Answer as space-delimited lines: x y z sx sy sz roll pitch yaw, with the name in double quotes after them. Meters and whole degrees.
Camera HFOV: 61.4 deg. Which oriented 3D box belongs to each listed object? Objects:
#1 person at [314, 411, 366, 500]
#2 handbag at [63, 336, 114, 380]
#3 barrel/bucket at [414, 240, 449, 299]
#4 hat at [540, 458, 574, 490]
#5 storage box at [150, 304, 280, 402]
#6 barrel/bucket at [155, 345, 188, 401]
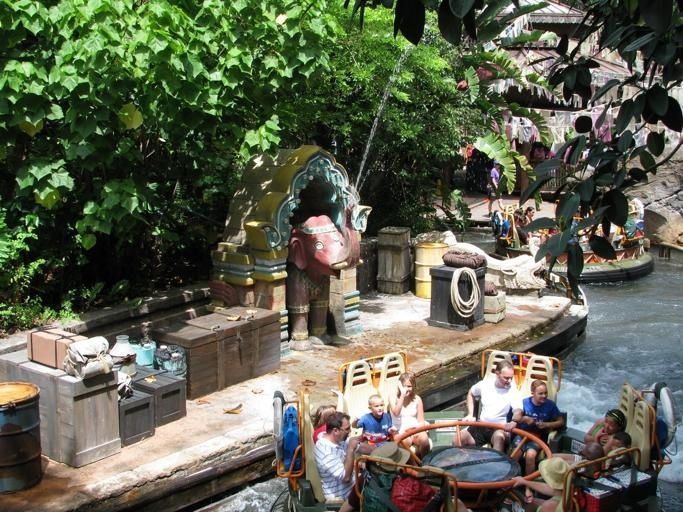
-0.033 2.165 5.990 0.546 0.952 0.508 -5 14 -13 "person"
-2.805 1.147 6.414 0.381 0.357 0.511 11 11 30 "handbag"
2.184 0.392 13.737 1.205 1.216 1.160 2 3 0 "barrel/bucket"
2.065 2.165 5.631 0.229 0.324 0.245 -3 3 3 "hat"
-1.864 1.471 8.869 0.986 0.921 1.775 8 12 37 "storage box"
-2.380 1.555 8.354 0.441 0.492 0.537 -8 12 -21 "barrel/bucket"
